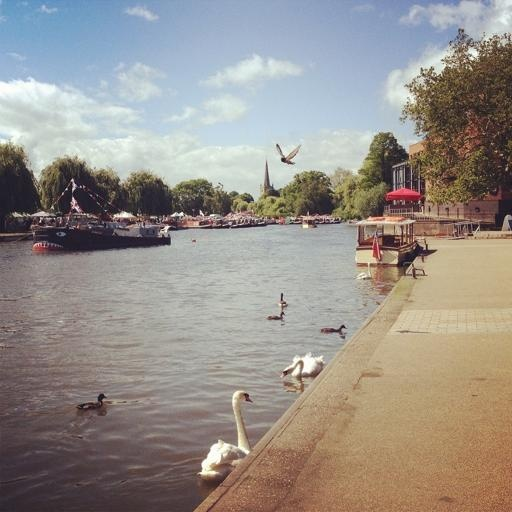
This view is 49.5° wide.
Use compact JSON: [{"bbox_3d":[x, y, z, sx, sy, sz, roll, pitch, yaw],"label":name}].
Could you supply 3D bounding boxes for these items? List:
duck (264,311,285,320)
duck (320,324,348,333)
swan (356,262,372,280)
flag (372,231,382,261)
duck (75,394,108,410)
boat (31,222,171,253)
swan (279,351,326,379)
[{"bbox_3d":[0.657,2.041,18.755,0.630,0.448,0.228,-2,5,-10],"label":"duck"},{"bbox_3d":[2.272,2.095,16.401,0.750,0.266,1.140,-1,3,7],"label":"duck"},{"bbox_3d":[6.544,0.894,33.653,0.956,1.025,0.365,-24,29,-37],"label":"swan"},{"bbox_3d":[7.931,-0.543,36.653,0.578,1.721,1.126,-1,3,5],"label":"flag"},{"bbox_3d":[-2.929,2.652,10.013,0.528,0.236,0.224,-6,-23,-7],"label":"duck"},{"bbox_3d":[-19.095,-2.766,74.736,6.175,3.442,24.903,0,3,17],"label":"boat"},{"bbox_3d":[0.958,2.300,11.324,0.410,0.311,0.774,10,17,35],"label":"swan"}]
